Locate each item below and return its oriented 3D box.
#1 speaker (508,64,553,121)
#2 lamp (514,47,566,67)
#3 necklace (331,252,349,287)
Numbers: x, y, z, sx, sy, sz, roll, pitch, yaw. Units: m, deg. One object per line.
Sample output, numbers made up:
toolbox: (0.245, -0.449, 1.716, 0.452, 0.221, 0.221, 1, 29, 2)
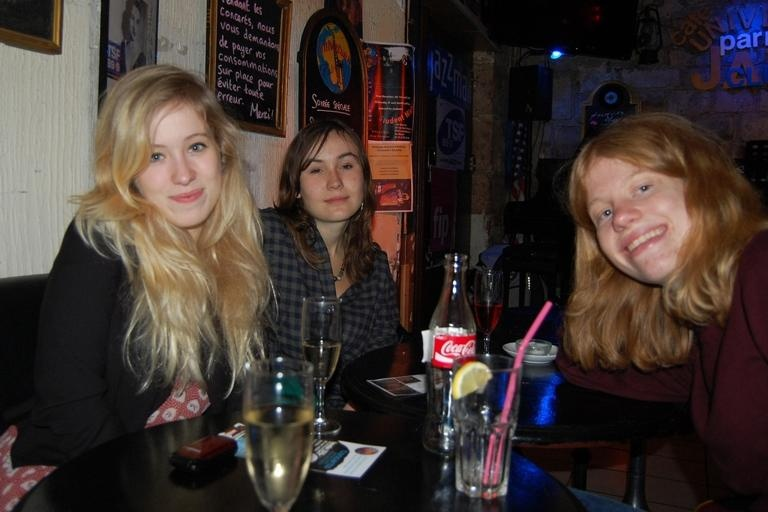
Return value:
speaker: (1.603, -1.768, 6.789, 0.465, 0.561, 0.420, 2, 6, 10)
lamp: (1.838, -2.332, 7.349, 0.688, 0.215, 0.496, -2, 5, -5)
necklace: (-0.212, 0.078, 3.061, 0.033, 0.086, 0.119, 22, -33, -26)
